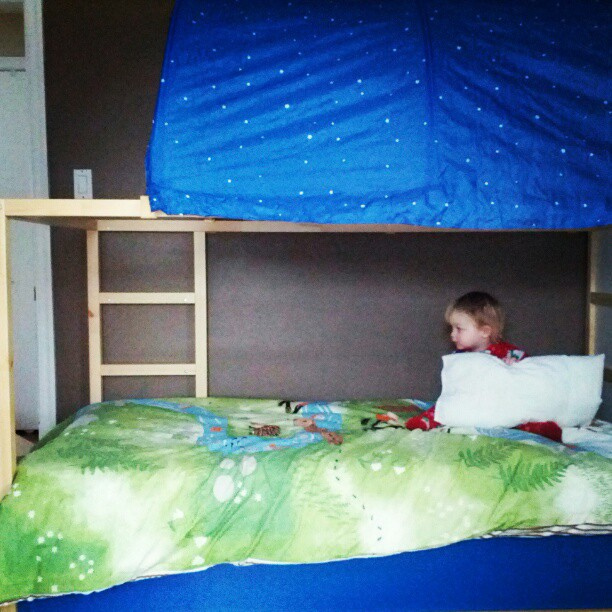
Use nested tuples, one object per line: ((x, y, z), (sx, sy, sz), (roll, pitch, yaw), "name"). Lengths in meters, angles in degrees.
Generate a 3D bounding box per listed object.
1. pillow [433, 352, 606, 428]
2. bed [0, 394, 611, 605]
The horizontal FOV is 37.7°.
((0.663, 0.261, 2.886), (0.464, 0.237, 0.143), (5, -3, 0), "pillow")
((0.040, 0.575, 2.628), (1.265, 0.274, 0.724), (1, 6, 0), "bed")
